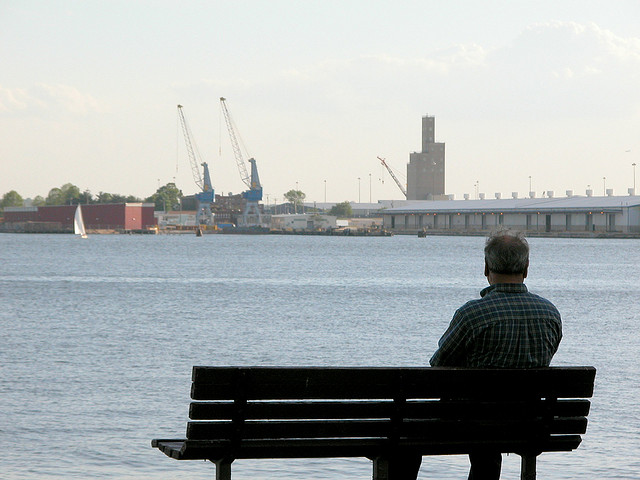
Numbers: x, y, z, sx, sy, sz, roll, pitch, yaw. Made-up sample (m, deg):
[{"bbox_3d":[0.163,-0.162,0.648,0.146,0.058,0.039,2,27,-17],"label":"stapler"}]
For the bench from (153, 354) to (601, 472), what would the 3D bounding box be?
[{"bbox_3d":[1.189,2.840,30.593,6.572,1.892,0.518,-2,0,-2],"label":"bench"}]
